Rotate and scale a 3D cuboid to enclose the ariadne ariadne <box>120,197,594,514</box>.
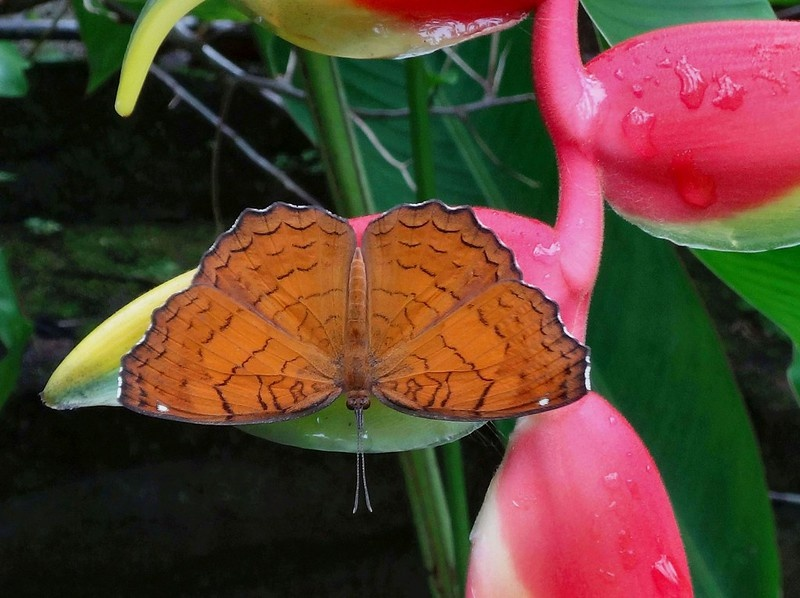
[{"bbox_3d":[-0.027,0.030,0.595,0.304,0.075,0.182,1,88,-28],"label":"ariadne ariadne"}]
